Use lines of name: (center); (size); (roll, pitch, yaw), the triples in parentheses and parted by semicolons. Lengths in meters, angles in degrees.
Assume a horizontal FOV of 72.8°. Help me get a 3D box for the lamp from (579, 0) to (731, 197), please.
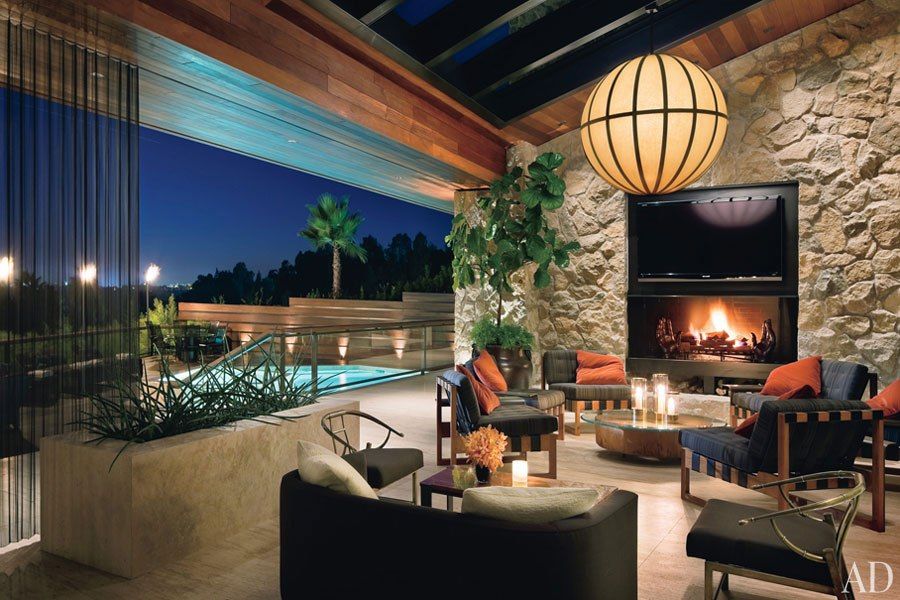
lamp: (1.830, -1.562, 5.665); (1.255, 1.604, 1.240); (0, 0, 16)
